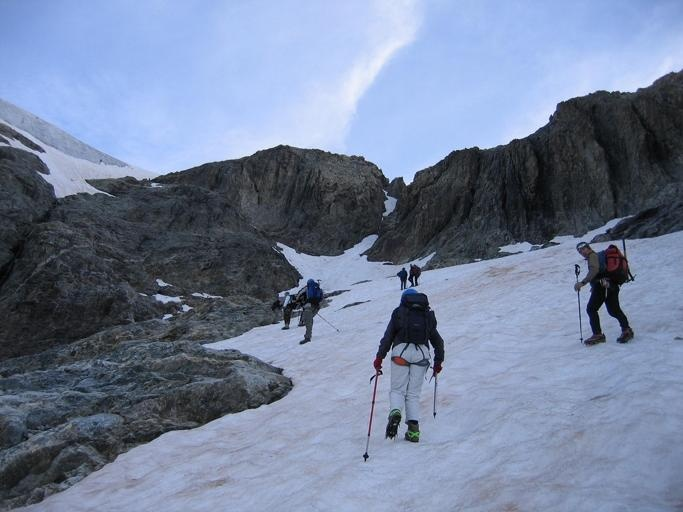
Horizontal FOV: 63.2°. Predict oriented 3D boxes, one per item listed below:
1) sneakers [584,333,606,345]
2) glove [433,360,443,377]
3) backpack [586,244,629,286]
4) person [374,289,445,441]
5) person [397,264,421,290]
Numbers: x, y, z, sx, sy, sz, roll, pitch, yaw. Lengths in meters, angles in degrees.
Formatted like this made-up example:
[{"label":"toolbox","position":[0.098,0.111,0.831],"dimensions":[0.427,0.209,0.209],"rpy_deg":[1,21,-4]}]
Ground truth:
[{"label":"sneakers","position":[6.609,2.133,14.355],"dimensions":[0.571,0.275,0.238],"rpy_deg":[-6,-10,17]},{"label":"glove","position":[2.105,2.481,12.270],"dimensions":[0.163,0.355,0.278],"rpy_deg":[5,1,-1]},{"label":"backpack","position":[6.893,0.216,13.993],"dimensions":[0.849,0.957,0.425],"rpy_deg":[3,10,24]},{"label":"person","position":[1.420,2.372,11.954],"dimensions":[1.474,3.192,0.922],"rpy_deg":[-2,9,-8]},{"label":"person","position":[3.982,1.240,32.888],"dimensions":[1.338,1.341,0.455],"rpy_deg":[-2,-24,8]}]
